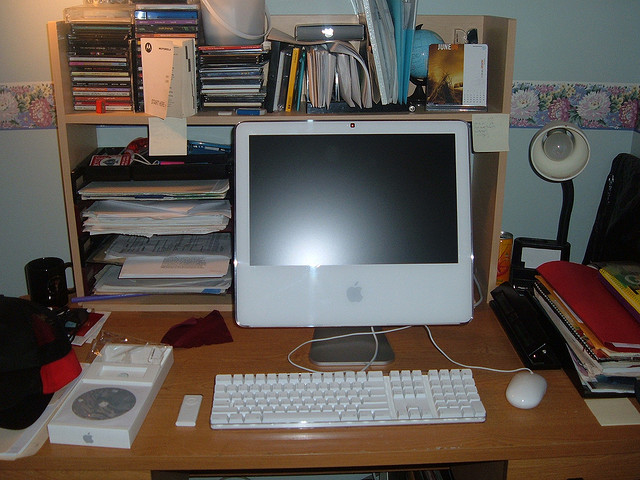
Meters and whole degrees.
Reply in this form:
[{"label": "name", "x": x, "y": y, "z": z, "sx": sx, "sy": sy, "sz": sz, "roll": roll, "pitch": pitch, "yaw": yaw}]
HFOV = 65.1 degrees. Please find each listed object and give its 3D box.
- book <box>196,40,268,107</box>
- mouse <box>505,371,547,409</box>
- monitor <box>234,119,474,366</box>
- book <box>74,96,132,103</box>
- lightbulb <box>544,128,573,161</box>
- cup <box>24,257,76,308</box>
[{"label": "book", "x": -0.260, "y": -0.486, "z": 1.460, "sx": 0.204, "sy": 0.189, "sz": 0.127, "roll": -2, "pitch": 18, "yaw": -5}, {"label": "mouse", "x": 0.507, "y": 0.360, "z": 1.243, "sx": 0.100, "sy": 0.037, "sz": 0.130, "roll": 1, "pitch": 32, "yaw": 30}, {"label": "monitor", "x": 0.086, "y": -0.016, "z": 1.316, "sx": 0.704, "sy": 0.633, "sz": 0.222, "roll": -1, "pitch": 19, "yaw": -3}, {"label": "book", "x": -0.630, "y": -0.406, "z": 1.447, "sx": 0.164, "sy": 0.018, "sz": 0.037, "roll": 3, "pitch": 17, "yaw": 9}, {"label": "lightbulb", "x": 0.731, "y": -0.288, "z": 1.531, "sx": 0.083, "sy": 0.089, "sz": 0.030, "roll": -2, "pitch": 18, "yaw": -7}, {"label": "cup", "x": -0.834, "y": 0.129, "z": 1.525, "sx": 0.120, "sy": 0.121, "sz": 0.117, "roll": 0, "pitch": 18, "yaw": 0}]
